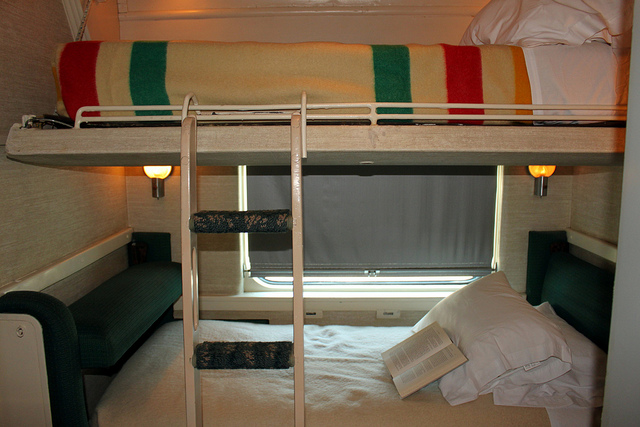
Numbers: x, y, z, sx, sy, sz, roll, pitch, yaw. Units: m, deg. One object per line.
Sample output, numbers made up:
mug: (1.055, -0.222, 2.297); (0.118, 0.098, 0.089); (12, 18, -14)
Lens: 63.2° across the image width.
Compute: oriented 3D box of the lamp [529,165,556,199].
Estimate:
lamp: (1.745, -0.299, 4.096); (0.202, 0.362, 0.194); (0, -6, 21)

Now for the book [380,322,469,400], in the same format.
book: (0.672, 0.961, 3.363); (0.414, 0.087, 0.439); (-28, 24, 6)

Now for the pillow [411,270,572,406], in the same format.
pillow: (1.085, 0.830, 3.278); (0.740, 0.221, 0.715); (-32, 43, 7)

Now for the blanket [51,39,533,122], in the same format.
blanket: (-0.173, -0.768, 2.841); (1.729, 0.275, 0.919); (-2, 14, -4)

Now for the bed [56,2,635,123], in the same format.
bed: (0.204, -0.770, 2.948); (2.766, 0.390, 1.429); (0, 10, 4)
